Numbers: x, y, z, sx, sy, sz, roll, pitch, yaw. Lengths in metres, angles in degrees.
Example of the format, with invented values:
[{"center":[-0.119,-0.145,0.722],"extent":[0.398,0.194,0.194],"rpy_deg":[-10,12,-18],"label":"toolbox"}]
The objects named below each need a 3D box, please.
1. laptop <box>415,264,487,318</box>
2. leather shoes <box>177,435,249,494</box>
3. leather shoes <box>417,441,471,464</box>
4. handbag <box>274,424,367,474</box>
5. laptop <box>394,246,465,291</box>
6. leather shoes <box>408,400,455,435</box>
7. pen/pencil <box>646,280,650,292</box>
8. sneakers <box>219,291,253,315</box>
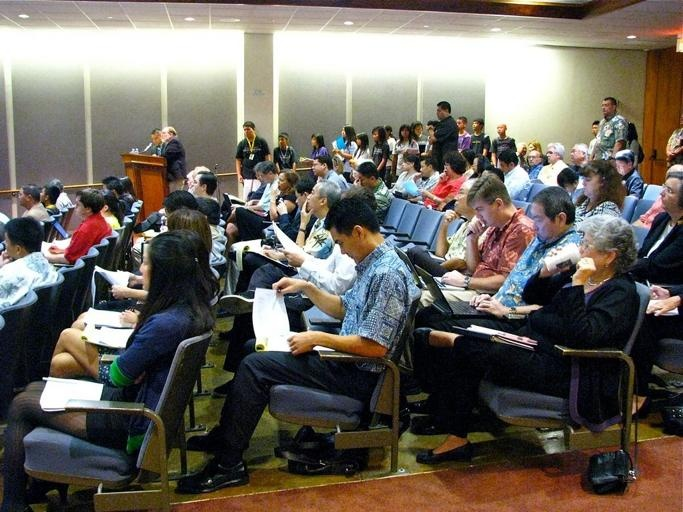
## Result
[{"center":[0.677,0.165,3.175],"extent":[0.442,0.238,0.457],"rpy_deg":[0,-1,-1],"label":"laptop"},{"center":[-0.620,1.040,2.593],"extent":[0.361,0.160,0.145],"rpy_deg":[2,-4,-19],"label":"leather shoes"},{"center":[0.544,1.034,2.798],"extent":[0.280,0.108,0.108],"rpy_deg":[3,-5,-3],"label":"leather shoes"},{"center":[-0.094,1.023,2.746],"extent":[0.317,0.120,0.259],"rpy_deg":[1,2,-2],"label":"handbag"},{"center":[0.600,0.084,3.500],"extent":[0.197,0.345,0.159],"rpy_deg":[-20,23,-2],"label":"laptop"},{"center":[0.503,0.933,3.154],"extent":[0.297,0.277,0.141],"rpy_deg":[2,9,-1],"label":"leather shoes"},{"center":[1.604,0.155,2.768],"extent":[0.014,0.026,0.073],"rpy_deg":[-2,16,16],"label":"pen/pencil"},{"center":[-0.650,0.276,3.286],"extent":[0.287,0.156,0.108],"rpy_deg":[0,30,-4],"label":"sneakers"}]
